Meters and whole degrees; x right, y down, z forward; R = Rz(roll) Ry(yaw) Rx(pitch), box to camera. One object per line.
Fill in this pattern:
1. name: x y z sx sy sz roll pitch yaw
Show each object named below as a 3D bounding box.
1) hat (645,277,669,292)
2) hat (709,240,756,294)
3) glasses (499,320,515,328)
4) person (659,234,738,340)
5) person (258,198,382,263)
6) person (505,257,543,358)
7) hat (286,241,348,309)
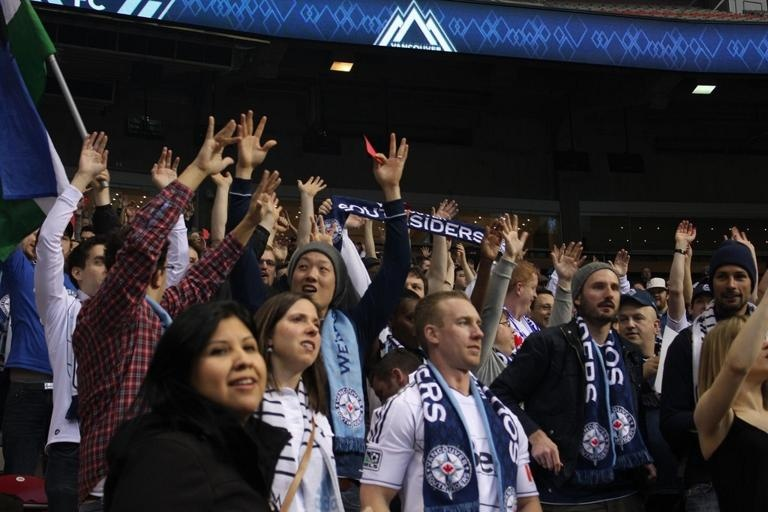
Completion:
1. hat: 4.370 0.443 11.573 0.313 0.213 0.436 -7 -25 26
2. hat: 3.045 0.085 6.393 0.311 0.412 0.468 1 -12 13
3. glasses: 1.217 0.665 7.074 0.137 0.048 0.142 11 -7 -2
4. person: 3.693 0.357 8.610 1.340 1.099 0.657 2 -13 -4
5. person: -0.722 -0.280 8.254 1.153 1.315 0.420 1 -10 8
6. person: 1.423 0.548 7.367 0.371 0.787 0.874 -1 -3 2
7. hat: -0.483 0.170 6.010 0.417 0.614 0.281 3 -2 0
